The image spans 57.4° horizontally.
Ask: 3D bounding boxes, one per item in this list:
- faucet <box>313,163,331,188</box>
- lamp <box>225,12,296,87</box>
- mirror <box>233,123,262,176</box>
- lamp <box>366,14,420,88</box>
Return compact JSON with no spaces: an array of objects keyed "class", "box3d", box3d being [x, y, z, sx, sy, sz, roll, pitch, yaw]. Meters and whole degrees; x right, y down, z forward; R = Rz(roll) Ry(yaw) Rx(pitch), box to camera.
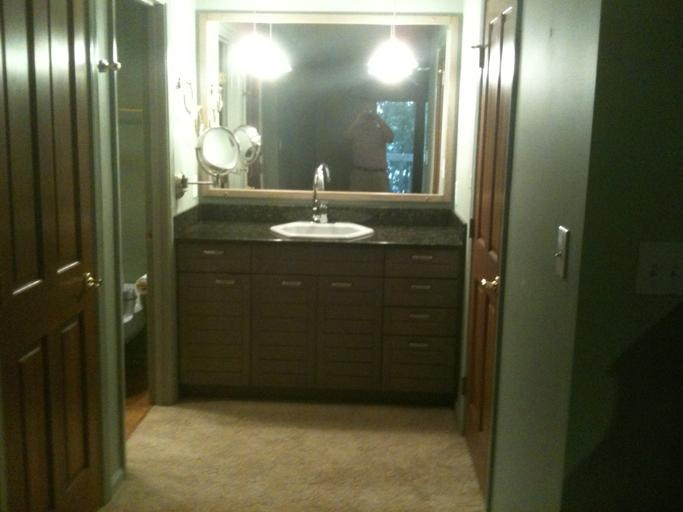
[{"class":"faucet","box3d":[-0.126,-0.513,4.010,0.113,0.173,0.167,1,19,-2]},{"class":"lamp","box3d":[-0.506,-1.348,4.011,0.357,0.421,0.142,4,17,2]},{"class":"mirror","box3d":[-0.615,-0.709,4.059,0.230,0.288,0.106,14,15,14]},{"class":"lamp","box3d":[0.341,-1.315,3.993,0.334,0.677,0.356,3,16,13]}]
